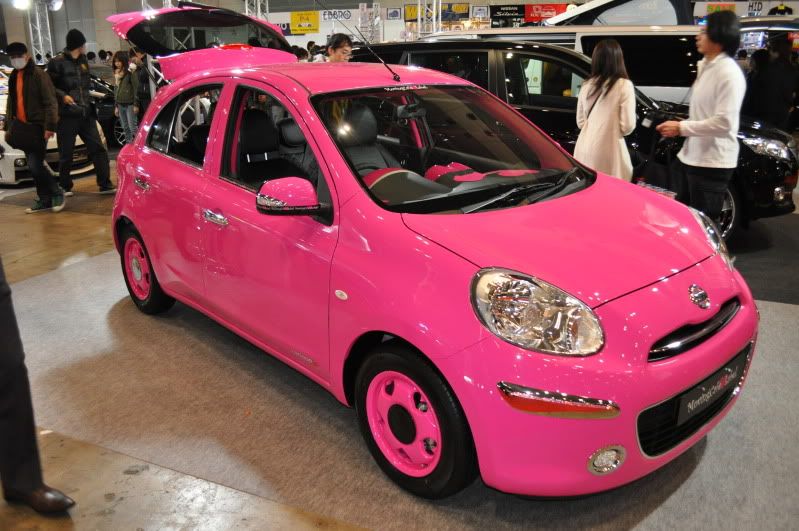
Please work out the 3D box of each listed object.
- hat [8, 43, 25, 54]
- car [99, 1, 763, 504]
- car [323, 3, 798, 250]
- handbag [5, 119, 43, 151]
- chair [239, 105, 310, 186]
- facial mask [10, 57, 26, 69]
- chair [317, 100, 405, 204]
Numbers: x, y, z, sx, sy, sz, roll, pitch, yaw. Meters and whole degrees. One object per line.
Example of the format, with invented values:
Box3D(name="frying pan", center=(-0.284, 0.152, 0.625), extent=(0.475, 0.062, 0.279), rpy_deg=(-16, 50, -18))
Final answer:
Box3D(name="hat", center=(-5.020, -2.861, 6.223), extent=(0.220, 0.157, 0.328), rpy_deg=(-16, 24, -33))
Box3D(name="car", center=(-0.164, -0.239, 3.353), extent=(4.170, 1.850, 2.346), rpy_deg=(25, 35, 34))
Box3D(name="car", center=(1.881, -1.575, 6.203), extent=(5.205, 2.264, 2.758), rpy_deg=(2, 27, 14))
Box3D(name="handbag", center=(-5.103, -1.768, 6.475), extent=(0.430, 0.410, 0.122), rpy_deg=(16, 8, -13))
Box3D(name="chair", center=(-0.872, -0.811, 3.227), extent=(0.444, 0.542, 0.573), rpy_deg=(-15, 11, -36))
Box3D(name="facial mask", center=(-5.068, -2.713, 6.308), extent=(0.148, 0.112, 0.150), rpy_deg=(6, 47, -2))
Box3D(name="chair", center=(-0.228, -0.632, 2.610), extent=(0.348, 0.462, 0.479), rpy_deg=(-28, 58, -25))
